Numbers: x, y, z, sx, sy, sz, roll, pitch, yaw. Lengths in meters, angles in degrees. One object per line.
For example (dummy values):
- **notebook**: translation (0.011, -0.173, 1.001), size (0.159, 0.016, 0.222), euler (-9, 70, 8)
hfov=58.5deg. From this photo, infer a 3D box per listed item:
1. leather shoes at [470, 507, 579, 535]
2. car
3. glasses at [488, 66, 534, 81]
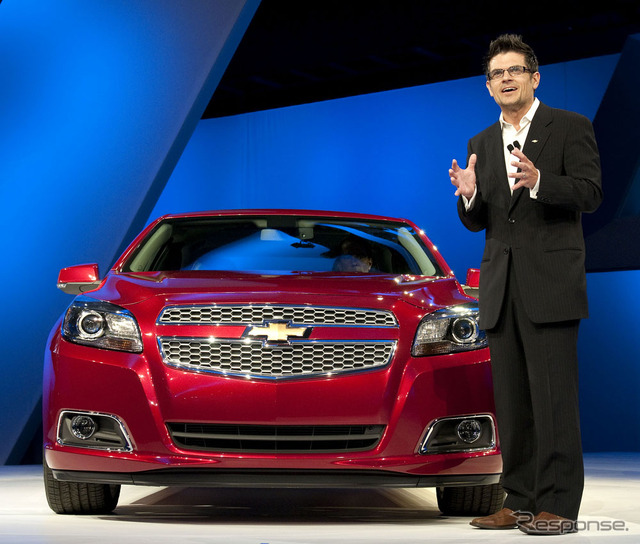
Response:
- **leather shoes**: translation (0.613, 0.797, 1.851), size (0.403, 0.083, 0.120), euler (0, -12, 5)
- **car**: translation (-0.273, 0.131, 3.285), size (1.998, 0.950, 2.771), euler (4, 5, -1)
- **glasses**: translation (0.617, -0.645, 1.852), size (0.134, 0.045, 0.060), euler (5, 10, 14)
